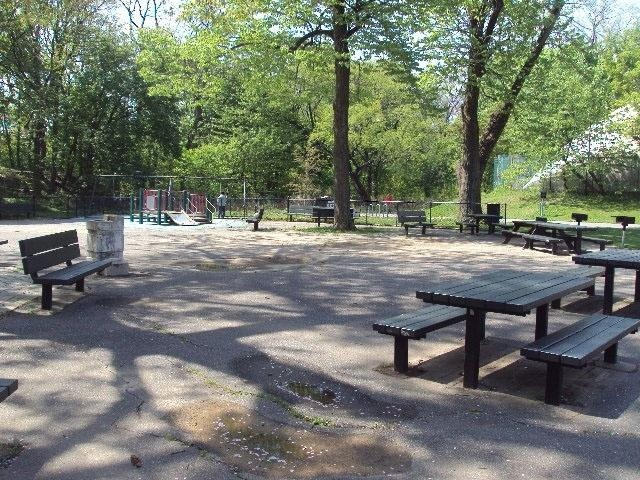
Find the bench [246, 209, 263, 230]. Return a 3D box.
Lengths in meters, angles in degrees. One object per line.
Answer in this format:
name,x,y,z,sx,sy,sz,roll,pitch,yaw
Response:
bench,-3.170,-0.974,28.813,0.627,0.910,1.542,0,3,-7

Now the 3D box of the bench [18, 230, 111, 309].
bench,-4.260,0.481,10.040,0.791,1.101,2.295,6,5,-4
